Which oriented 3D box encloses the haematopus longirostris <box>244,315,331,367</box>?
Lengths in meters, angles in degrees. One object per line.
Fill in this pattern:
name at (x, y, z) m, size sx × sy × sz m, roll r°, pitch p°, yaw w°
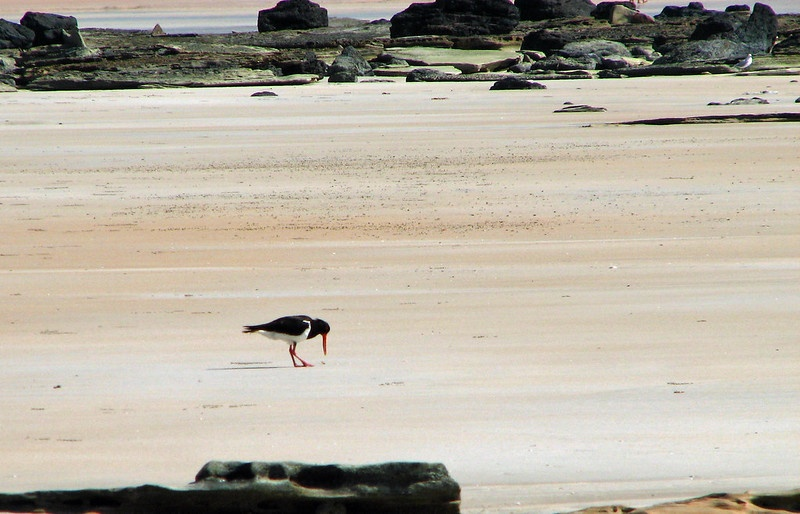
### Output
haematopus longirostris at (-3.275, 2.429, 68.105) m, size 2.269 × 1.470 × 0.901 m, roll 0°, pitch 20°, yaw 0°
